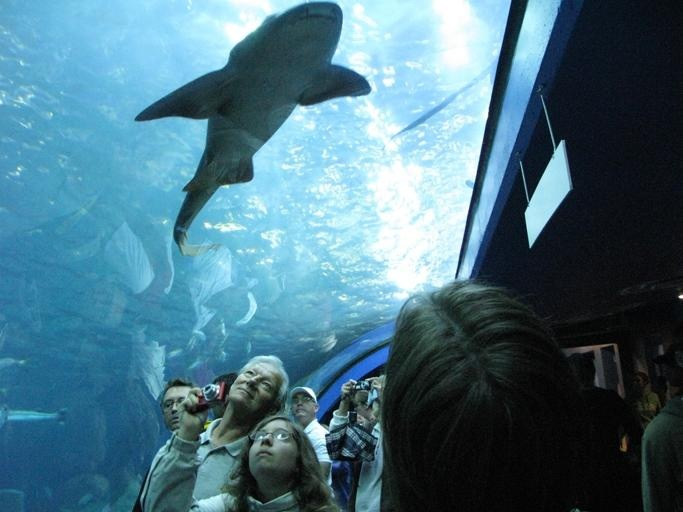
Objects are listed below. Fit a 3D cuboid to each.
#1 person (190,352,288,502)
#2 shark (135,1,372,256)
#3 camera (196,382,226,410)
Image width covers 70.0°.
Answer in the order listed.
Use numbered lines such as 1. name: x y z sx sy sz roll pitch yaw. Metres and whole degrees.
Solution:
1. person: -0.936 1.590 4.615 0.653 1.181 0.699 4 7 -4
2. shark: -1.111 -1.859 6.213 1.616 0.601 3.052 12 -42 -34
3. camera: -1.098 1.210 4.162 0.166 0.228 0.075 12 -32 18
